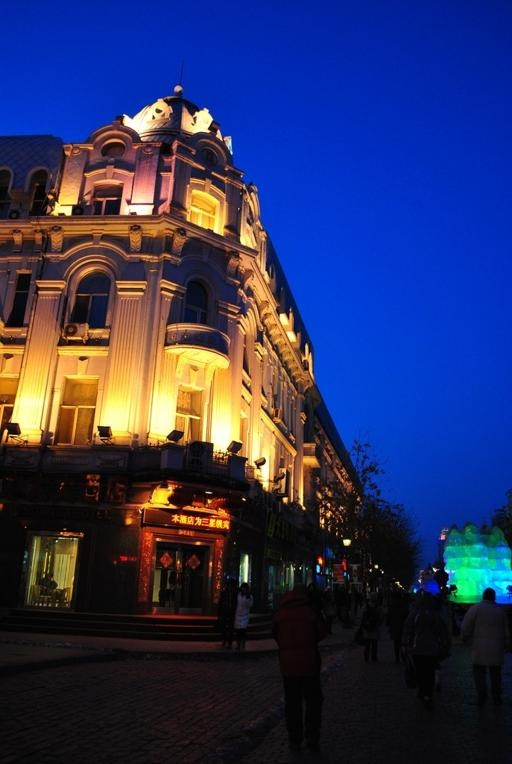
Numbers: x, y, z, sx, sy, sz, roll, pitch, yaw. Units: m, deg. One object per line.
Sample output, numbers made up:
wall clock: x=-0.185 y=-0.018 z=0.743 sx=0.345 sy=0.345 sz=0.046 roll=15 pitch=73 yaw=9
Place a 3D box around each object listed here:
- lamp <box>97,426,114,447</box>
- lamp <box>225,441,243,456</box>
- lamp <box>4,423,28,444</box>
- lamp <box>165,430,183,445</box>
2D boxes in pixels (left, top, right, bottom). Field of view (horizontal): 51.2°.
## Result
lamp: x=-6.095 y=2.138 z=21.438 sx=0.596 sy=1.025 sz=0.670 roll=0 pitch=-23 yaw=-10
lamp: x=-0.975 y=2.858 z=23.236 sx=0.687 sy=0.579 sz=0.163 roll=1 pitch=11 yaw=-45
lamp: x=-10.030 y=2.095 z=22.019 sx=0.591 sy=1.143 sz=0.993 roll=3 pitch=13 yaw=3
lamp: x=-3.333 y=2.304 z=21.501 sx=0.600 sy=0.629 sz=1.018 roll=6 pitch=-21 yaw=-10
